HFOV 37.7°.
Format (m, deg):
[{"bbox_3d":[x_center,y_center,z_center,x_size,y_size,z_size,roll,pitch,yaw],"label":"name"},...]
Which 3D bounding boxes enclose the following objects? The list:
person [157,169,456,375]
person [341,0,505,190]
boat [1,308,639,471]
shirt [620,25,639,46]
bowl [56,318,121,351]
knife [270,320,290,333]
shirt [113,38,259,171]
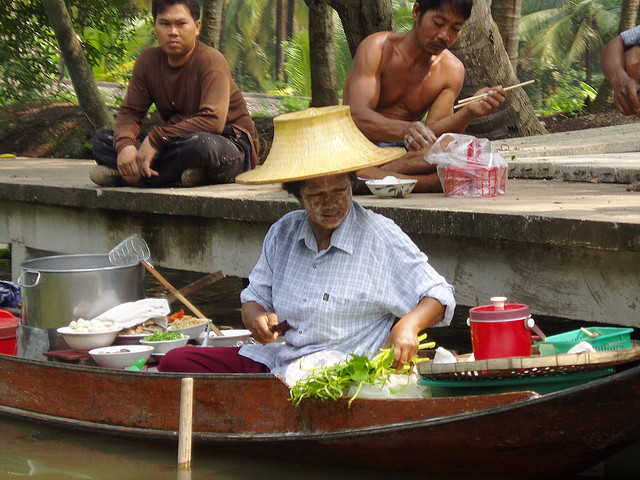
[{"bbox_3d":[-0.150,0.229,5.517,1.972,1.477,1.162,1,6,26],"label":"person"},{"bbox_3d":[0.717,-1.093,7.269,1.081,1.424,1.061,-5,11,2],"label":"person"},{"bbox_3d":[0.009,0.890,5.374,4.441,0.760,0.952,0,1,31],"label":"boat"},{"bbox_3d":[2.560,-1.678,7.693,0.145,0.142,0.183,1,14,31],"label":"shirt"},{"bbox_3d":[-1.533,0.645,6.365,0.347,0.153,0.366,5,6,0],"label":"bowl"},{"bbox_3d":[-0.232,0.501,5.425,0.094,0.055,0.028,-25,32,2],"label":"knife"},{"bbox_3d":[-1.226,-1.328,8.447,1.087,1.571,0.757,-3,12,-3],"label":"shirt"}]
